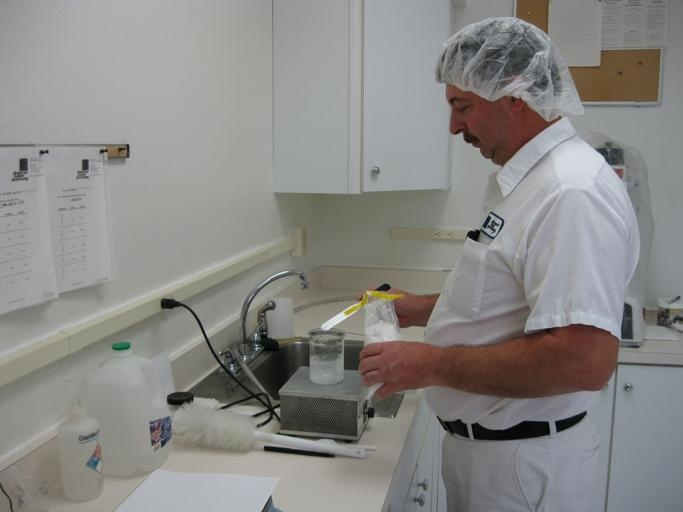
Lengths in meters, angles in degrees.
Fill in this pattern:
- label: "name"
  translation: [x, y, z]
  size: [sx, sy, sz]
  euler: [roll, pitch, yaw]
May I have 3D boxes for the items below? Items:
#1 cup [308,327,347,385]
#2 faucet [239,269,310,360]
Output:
- label: "cup"
  translation: [-0.030, 0.303, 1.534]
  size: [0.117, 0.153, 0.137]
  euler: [0, -1, 3]
- label: "faucet"
  translation: [-0.254, 0.204, 1.844]
  size: [0.232, 0.314, 0.188]
  euler: [3, 11, 13]
